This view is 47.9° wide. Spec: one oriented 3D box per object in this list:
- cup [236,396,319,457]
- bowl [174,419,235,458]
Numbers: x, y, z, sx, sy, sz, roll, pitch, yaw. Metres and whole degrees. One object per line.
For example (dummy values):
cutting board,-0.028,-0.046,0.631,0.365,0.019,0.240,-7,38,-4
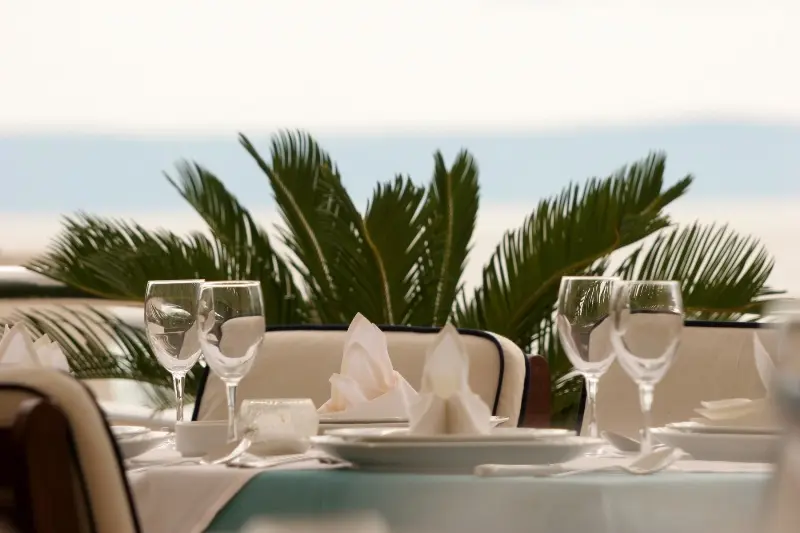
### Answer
cup,-0.249,0.339,1.767,0.159,0.121,0.166,-1,-23,-1
bowl,-0.385,0.325,1.738,0.061,0.053,0.075,-1,-1,4
